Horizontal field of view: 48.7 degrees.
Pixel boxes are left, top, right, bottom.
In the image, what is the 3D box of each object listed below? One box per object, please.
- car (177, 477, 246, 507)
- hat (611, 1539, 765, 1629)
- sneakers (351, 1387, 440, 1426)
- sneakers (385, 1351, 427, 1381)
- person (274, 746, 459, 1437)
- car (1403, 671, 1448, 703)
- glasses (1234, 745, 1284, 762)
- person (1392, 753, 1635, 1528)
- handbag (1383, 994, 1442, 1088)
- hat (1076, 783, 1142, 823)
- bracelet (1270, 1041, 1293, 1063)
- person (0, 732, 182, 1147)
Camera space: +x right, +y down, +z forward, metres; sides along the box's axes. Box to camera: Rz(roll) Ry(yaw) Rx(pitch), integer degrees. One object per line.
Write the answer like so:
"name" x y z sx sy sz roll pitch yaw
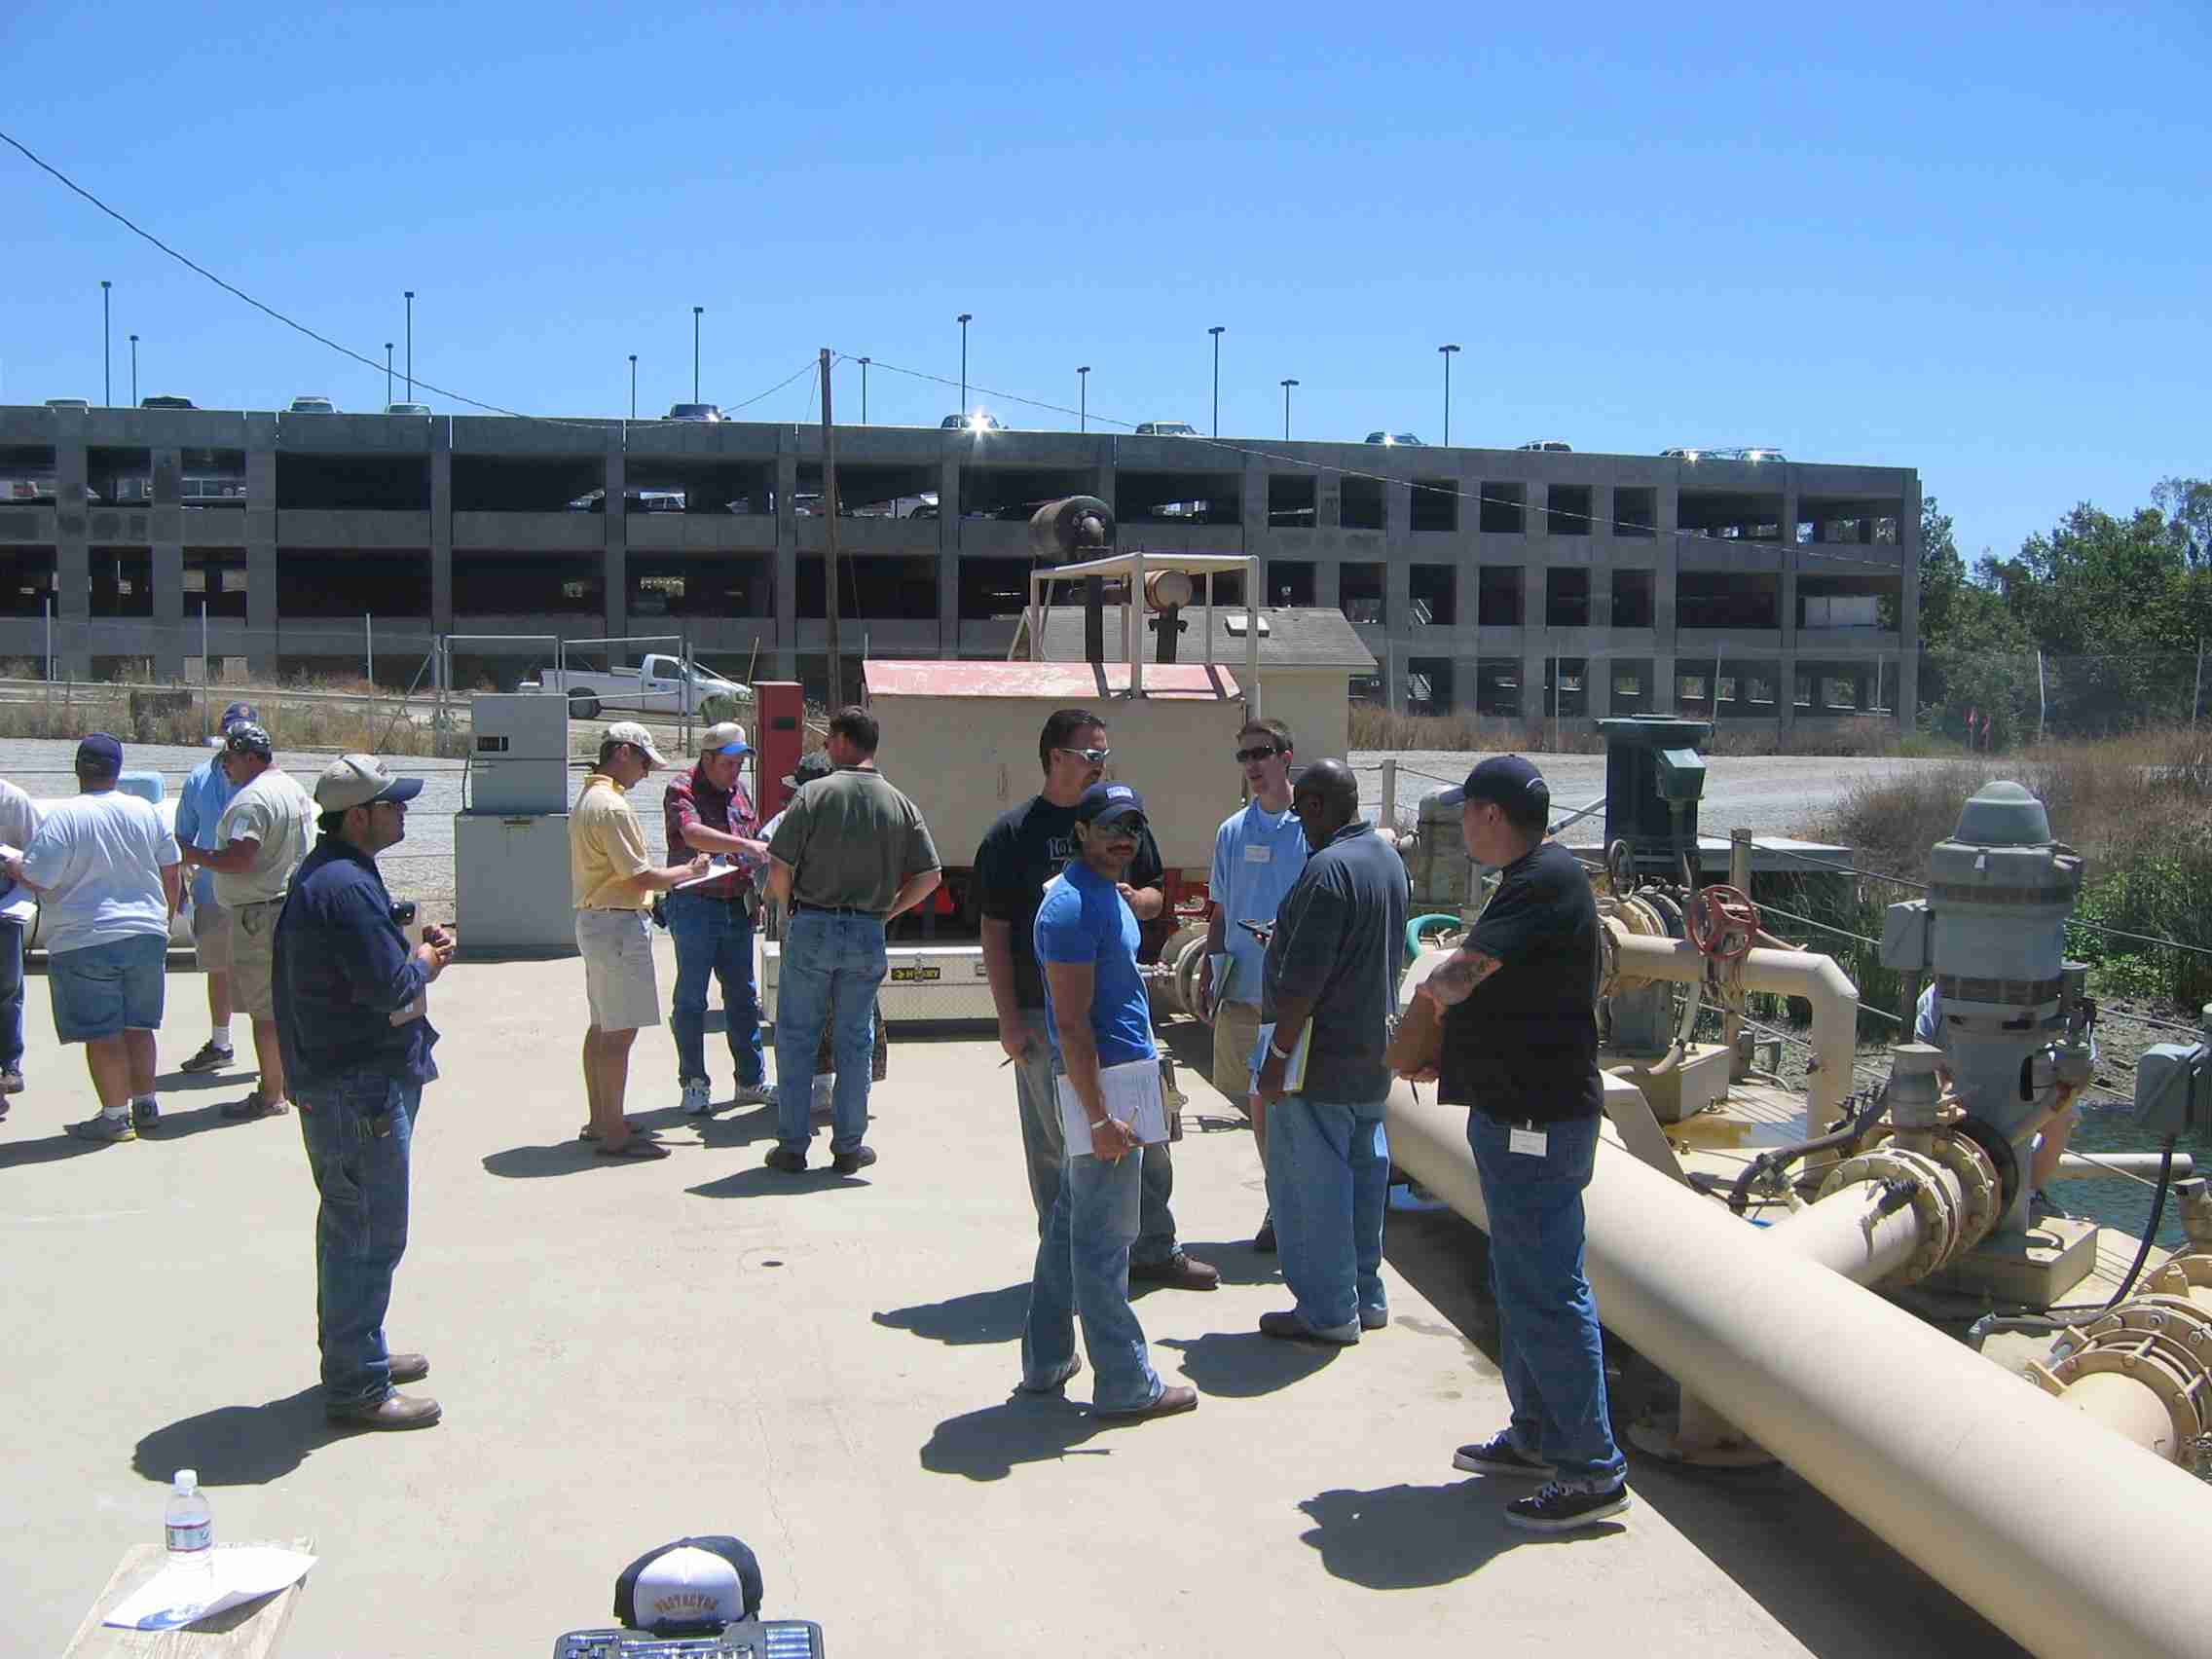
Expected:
"car" -21.996 -8.420 60.626 1.297 0.739 3.273 -3 14 -18
"hat" -1.182 2.154 6.969 0.390 0.207 0.312 -1 13 -7
"sneakers" -2.624 2.162 9.125 0.230 0.116 0.135 -1 6 -10
"sneakers" -2.678 2.066 9.456 0.162 0.129 0.061 -5 7 -21
"person" -2.748 0.955 9.154 0.614 2.404 0.777 -3 12 -17
"car" 8.269 -3.661 64.346 0.759 0.855 2.481 3 14 11
"glasses" 0.702 -0.339 10.884 0.221 0.093 0.097 -1 13 -8
"person" 1.479 1.078 8.624 0.868 2.606 0.586 10 14 36
"handbag" 1.092 0.737 8.684 0.219 0.334 0.120 -4 12 -33
"hat" 0.019 -0.111 9.136 0.215 0.126 0.270 1 13 -1
"bracelet" 0.686 0.863 9.471 0.051 0.043 0.056 0 16 -18
"person" -5.002 0.542 12.246 0.760 1.958 0.795 -4 13 -22
